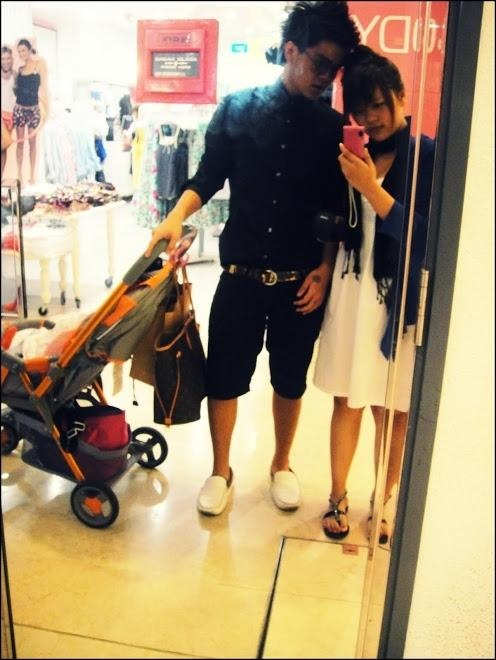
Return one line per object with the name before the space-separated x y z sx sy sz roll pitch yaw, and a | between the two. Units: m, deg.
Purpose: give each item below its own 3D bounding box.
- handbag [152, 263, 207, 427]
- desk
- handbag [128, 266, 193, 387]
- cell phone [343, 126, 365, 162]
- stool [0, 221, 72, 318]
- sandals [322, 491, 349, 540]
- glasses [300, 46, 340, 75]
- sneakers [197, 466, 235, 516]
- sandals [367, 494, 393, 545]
handbag | -0.167 0.020 1.266 0.087 0.315 0.233 3 33 -1
desk | -0.387 -0.194 1.223 0.271 0.262 0.220 17 30 38
handbag | -0.203 -0.021 1.234 0.061 0.219 0.163 17 35 0
cell phone | 0.222 -0.393 1.106 0.057 0.094 0.010 9 41 23
stool | -0.435 -0.137 1.193 0.138 0.195 0.154 3 12 10
sandals | 0.227 0.474 1.336 0.048 0.057 0.137 -2 23 7
glasses | 0.147 -0.542 1.057 0.046 0.031 0.058 4 56 -31
sneakers | -0.086 0.424 1.351 0.058 0.052 0.129 6 46 14
sandals | 0.310 0.440 1.232 0.043 0.148 0.033 3 7 36
